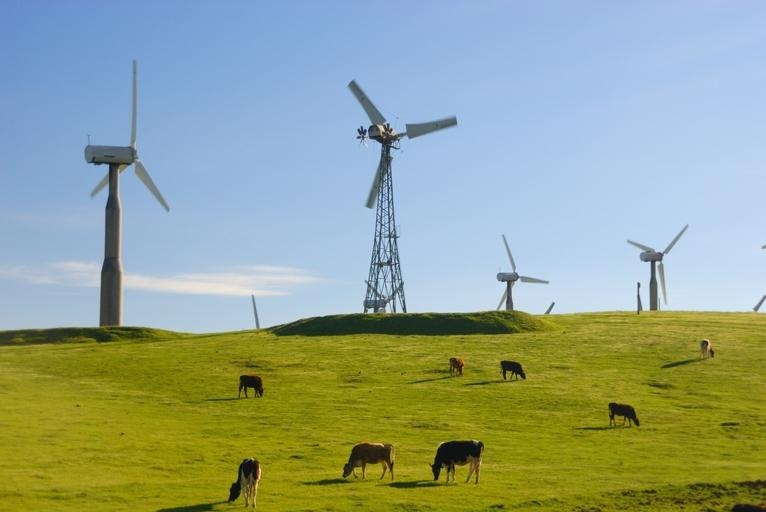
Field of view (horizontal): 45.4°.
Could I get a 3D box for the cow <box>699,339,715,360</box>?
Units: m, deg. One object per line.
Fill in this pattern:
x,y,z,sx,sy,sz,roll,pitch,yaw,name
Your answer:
30.216,8.594,85.233,1.196,1.669,2.351,4,8,19,cow

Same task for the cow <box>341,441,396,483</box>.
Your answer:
-0.894,12.120,54.607,3.089,2.125,2.330,1,8,-2,cow

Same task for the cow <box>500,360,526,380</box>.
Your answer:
10.851,9.605,76.951,2.250,1.426,1.974,5,8,24,cow

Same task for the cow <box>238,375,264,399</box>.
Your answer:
-10.309,10.004,70.309,2.348,1.596,1.734,7,10,38,cow
